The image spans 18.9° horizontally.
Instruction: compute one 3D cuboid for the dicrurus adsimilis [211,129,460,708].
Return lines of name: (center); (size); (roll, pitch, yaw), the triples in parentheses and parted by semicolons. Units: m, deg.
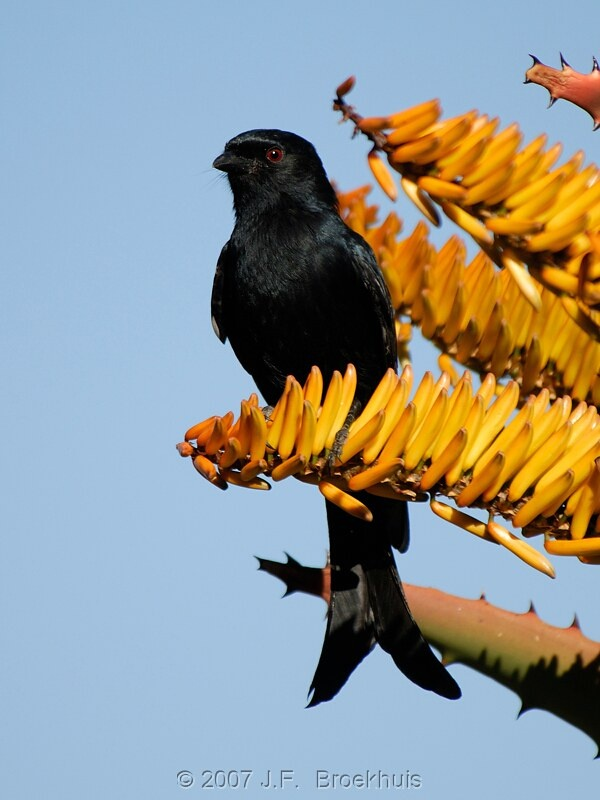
dicrurus adsimilis: (0.062, -0.148, 5.882); (0.563, 2.276, 0.884); (-6, 2, 29)
